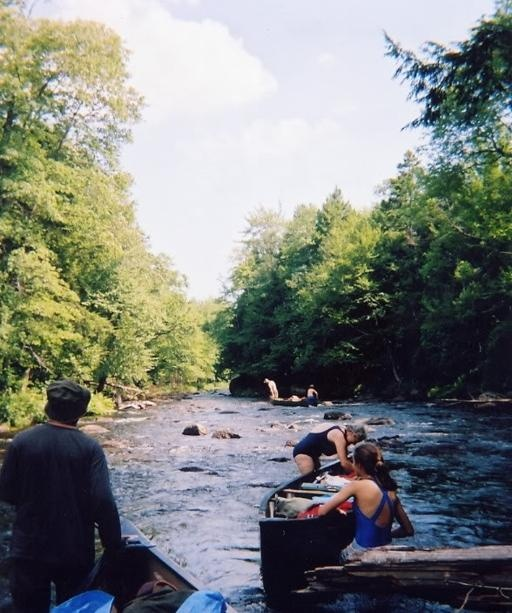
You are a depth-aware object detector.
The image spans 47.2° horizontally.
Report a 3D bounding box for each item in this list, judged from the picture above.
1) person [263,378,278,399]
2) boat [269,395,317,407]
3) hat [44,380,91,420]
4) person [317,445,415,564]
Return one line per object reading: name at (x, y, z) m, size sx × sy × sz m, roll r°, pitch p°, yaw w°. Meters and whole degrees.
person at (1.005, 5.571, 40.045) m, size 1.007 × 0.749 × 2.535 m, roll -10°, pitch -32°, yaw -7°
boat at (1.684, 4.911, 30.549) m, size 0.617 × 0.366 × 2.669 m, roll 9°, pitch -12°, yaw -30°
hat at (-1.456, 0.723, 4.506) m, size 0.483 × 0.270 × 0.585 m, roll 8°, pitch -12°, yaw -13°
person at (1.029, 1.866, 5.586) m, size 0.854 × 1.095 × 0.462 m, roll -4°, pitch -7°, yaw 5°
